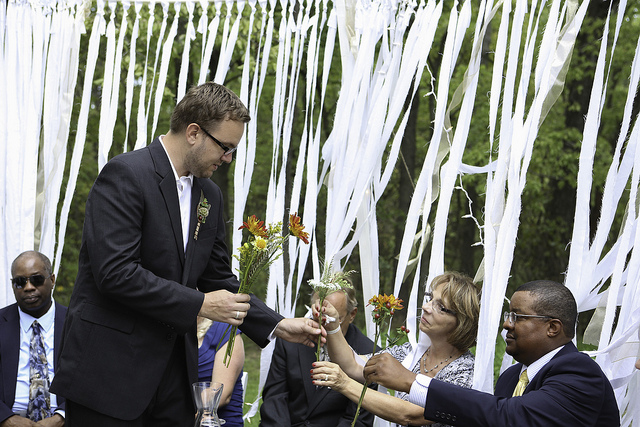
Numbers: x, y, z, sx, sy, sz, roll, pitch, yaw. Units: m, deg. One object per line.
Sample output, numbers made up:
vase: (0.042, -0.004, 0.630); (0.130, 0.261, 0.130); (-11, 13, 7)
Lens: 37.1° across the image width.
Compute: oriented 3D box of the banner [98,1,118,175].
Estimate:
banner: (-1.753, -1.048, 7.796); (0.124, 1.063, 0.504); (6, 2, -13)

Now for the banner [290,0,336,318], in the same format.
banner: (-0.034, -0.404, 7.436); (0.329, 2.496, 0.128); (8, -2, 1)

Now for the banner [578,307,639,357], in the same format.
banner: (2.022, 0.822, 6.537); (0.376, 0.353, 0.249); (7, 2, -1)

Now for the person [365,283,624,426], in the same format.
person: (1.212, 0.988, 6.534); (1.311, 0.998, 0.976); (5, -16, -1)

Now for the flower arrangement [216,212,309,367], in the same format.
flower arrangement: (-0.502, 0.492, 6.181); (0.624, 1.021, 0.344); (5, -24, 46)

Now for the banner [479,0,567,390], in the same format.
banner: (1.455, -0.147, 6.729); (0.169, 2.608, 0.498); (8, 3, 24)

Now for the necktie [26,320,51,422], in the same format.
necktie: (-2.118, 1.192, 7.195); (0.181, 0.549, 0.288); (6, 2, -23)
